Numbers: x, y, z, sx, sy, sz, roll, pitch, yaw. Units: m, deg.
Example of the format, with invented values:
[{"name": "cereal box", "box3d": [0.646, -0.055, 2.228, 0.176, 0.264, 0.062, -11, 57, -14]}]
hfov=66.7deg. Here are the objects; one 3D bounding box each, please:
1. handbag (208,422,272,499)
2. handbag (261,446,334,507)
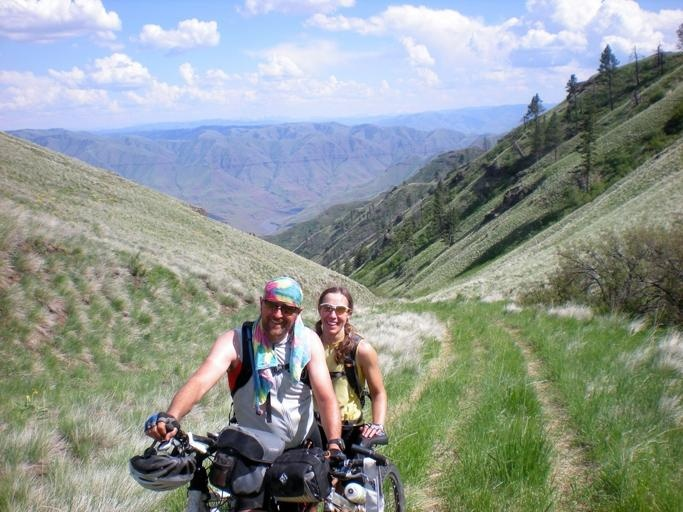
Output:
[{"name": "handbag", "box3d": [-1.140, 2.389, 6.123, 0.608, 0.726, 0.694, -5, -11, 18]}, {"name": "handbag", "box3d": [-0.475, 2.453, 6.057, 0.637, 0.580, 0.564, -8, -8, 27]}]
